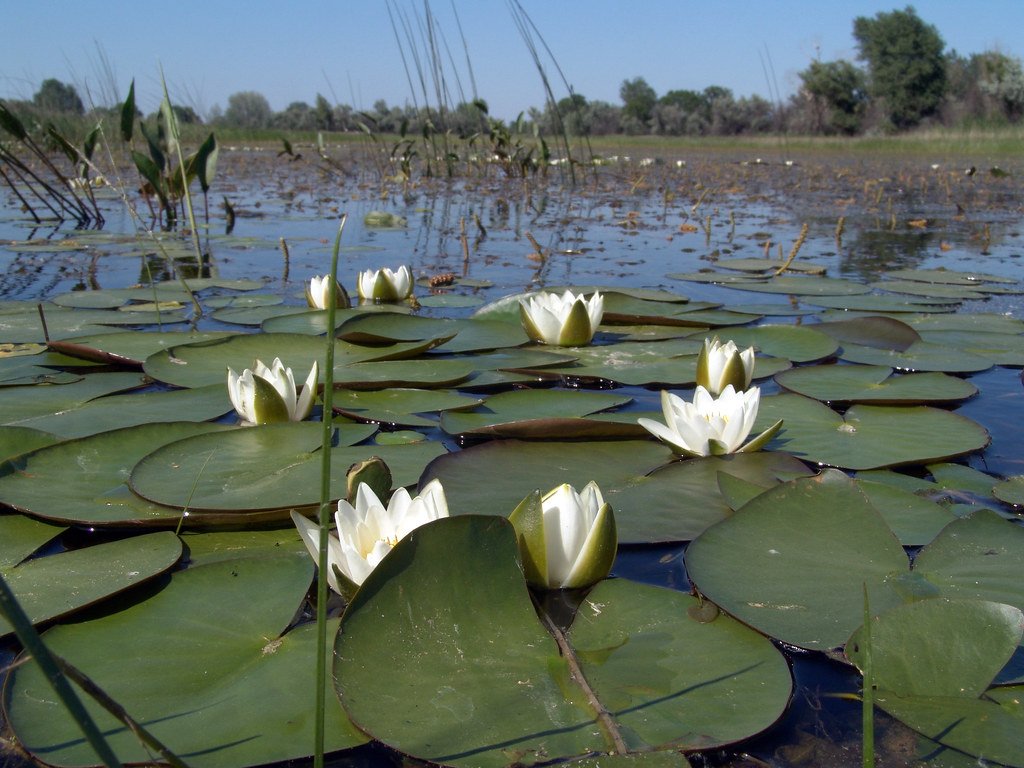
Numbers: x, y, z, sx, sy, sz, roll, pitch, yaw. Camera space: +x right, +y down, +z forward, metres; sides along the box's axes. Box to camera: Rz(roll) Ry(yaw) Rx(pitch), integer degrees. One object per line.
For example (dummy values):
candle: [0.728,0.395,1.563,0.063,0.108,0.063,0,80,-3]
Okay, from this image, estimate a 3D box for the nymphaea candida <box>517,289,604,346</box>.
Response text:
nymphaea candida: [0.173,-0.216,3.302,0.255,0.144,0.280,2,10,18]

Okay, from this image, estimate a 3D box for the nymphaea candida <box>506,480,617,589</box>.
nymphaea candida: [0.078,0.327,1.960,0.282,0.205,0.196,8,4,-14]

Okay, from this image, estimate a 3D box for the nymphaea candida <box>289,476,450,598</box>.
nymphaea candida: [-0.282,0.300,1.790,0.295,0.109,0.245,-14,26,17]

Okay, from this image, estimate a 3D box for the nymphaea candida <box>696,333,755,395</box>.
nymphaea candida: [0.637,-0.038,2.679,0.141,0.143,0.139,6,8,37]

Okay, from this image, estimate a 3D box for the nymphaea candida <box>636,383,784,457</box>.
nymphaea candida: [0.538,0.096,2.325,0.356,0.108,0.358,3,27,40]

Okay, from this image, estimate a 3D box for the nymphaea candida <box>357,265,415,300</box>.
nymphaea candida: [-0.557,-0.444,4.002,0.238,0.104,0.159,-4,4,-13]

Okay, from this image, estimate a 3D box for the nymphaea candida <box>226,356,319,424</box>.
nymphaea candida: [-0.651,0.037,2.480,0.248,0.131,0.183,-13,16,-34]
